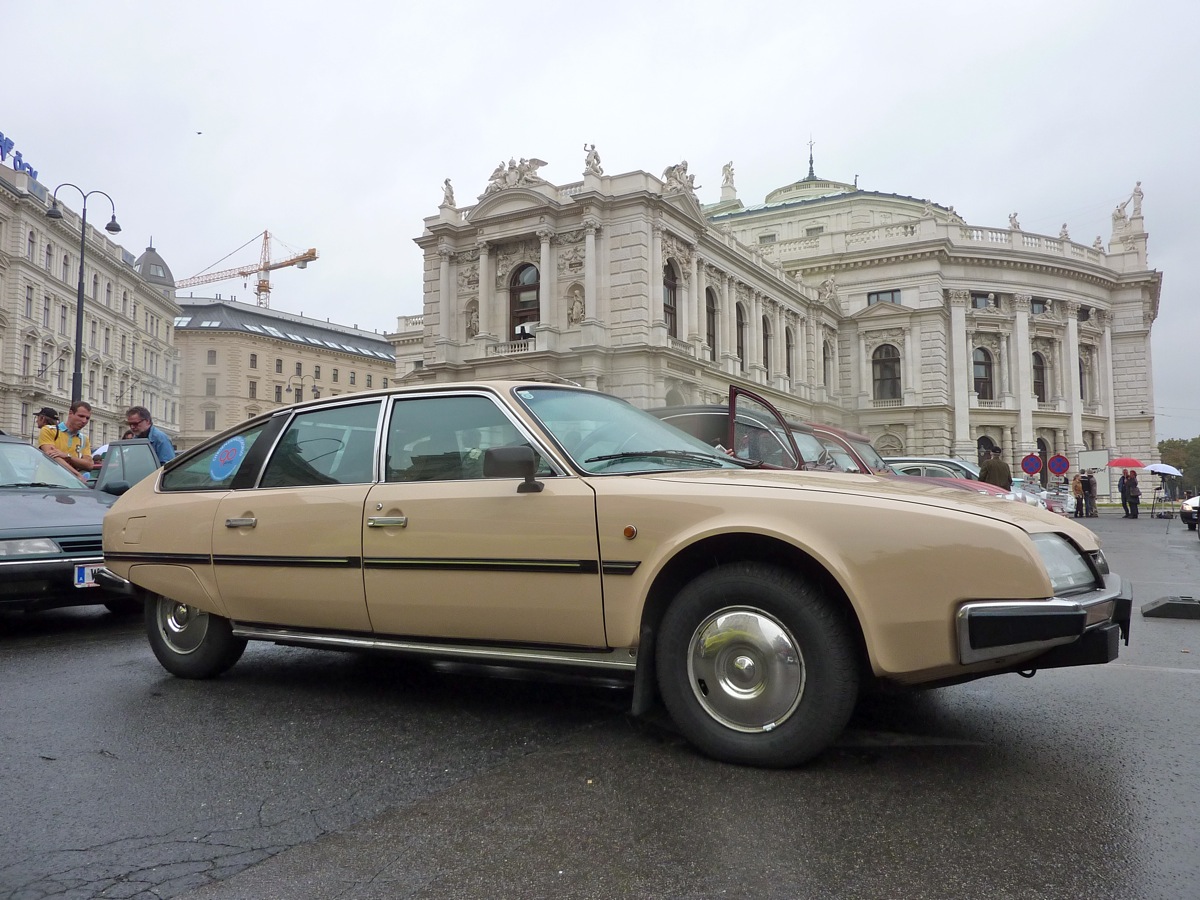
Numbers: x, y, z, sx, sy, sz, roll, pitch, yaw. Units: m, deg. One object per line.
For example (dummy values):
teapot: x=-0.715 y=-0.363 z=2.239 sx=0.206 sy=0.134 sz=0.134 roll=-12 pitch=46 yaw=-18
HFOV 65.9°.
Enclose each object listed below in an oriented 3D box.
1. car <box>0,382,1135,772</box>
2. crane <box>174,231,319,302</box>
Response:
car: x=-0.227 y=0.547 z=4.964 sx=5.294 sy=1.874 sz=0.651 roll=0 pitch=2 yaw=22
crane: x=-59.464 y=-29.106 z=153.497 sx=29.472 sy=12.442 sz=3.899 roll=-4 pitch=2 yaw=24
